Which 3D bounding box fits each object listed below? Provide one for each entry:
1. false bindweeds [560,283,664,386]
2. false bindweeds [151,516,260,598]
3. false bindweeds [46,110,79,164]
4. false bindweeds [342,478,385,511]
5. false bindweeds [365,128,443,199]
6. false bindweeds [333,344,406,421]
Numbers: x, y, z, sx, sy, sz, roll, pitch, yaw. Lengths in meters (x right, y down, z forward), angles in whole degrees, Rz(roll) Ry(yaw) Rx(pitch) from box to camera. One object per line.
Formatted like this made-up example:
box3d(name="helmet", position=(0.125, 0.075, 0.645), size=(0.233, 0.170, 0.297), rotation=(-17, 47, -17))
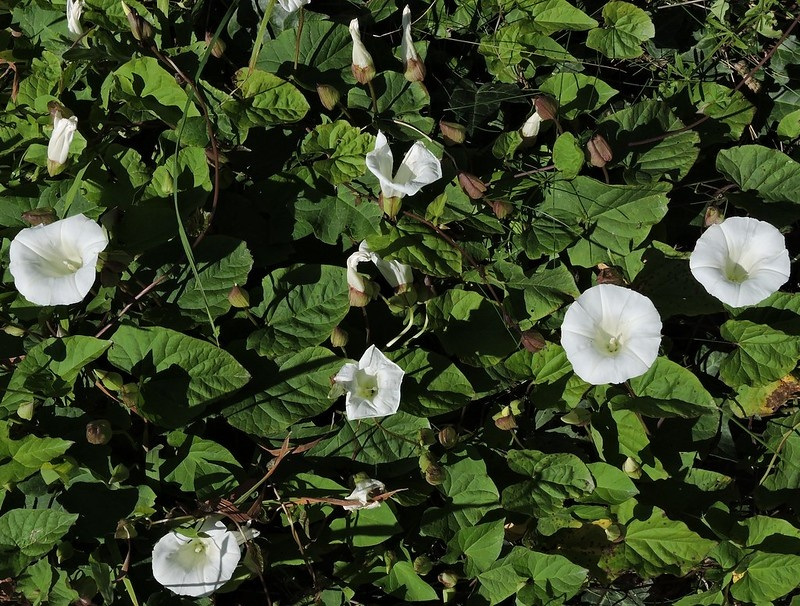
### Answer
box3d(name="false bindweeds", position=(0.796, 0.108, 2.895), size=(0.347, 0.200, 0.360), rotation=(19, 53, -3))
box3d(name="false bindweeds", position=(-0.759, 0.971, 2.907), size=(0.365, 0.194, 0.265), rotation=(17, 53, -6))
box3d(name="false bindweeds", position=(-1.381, -0.674, 3.149), size=(0.116, 0.223, 0.091), rotation=(17, 10, -6))
box3d(name="false bindweeds", position=(-0.140, 0.741, 2.910), size=(0.096, 0.139, 0.098), rotation=(32, 39, -35))
box3d(name="false bindweeds", position=(0.007, -0.517, 2.950), size=(0.263, 0.146, 0.264), rotation=(32, 57, 20))
box3d(name="false bindweeds", position=(-0.123, 0.309, 2.882), size=(0.249, 0.185, 0.244), rotation=(0, 56, -17))
